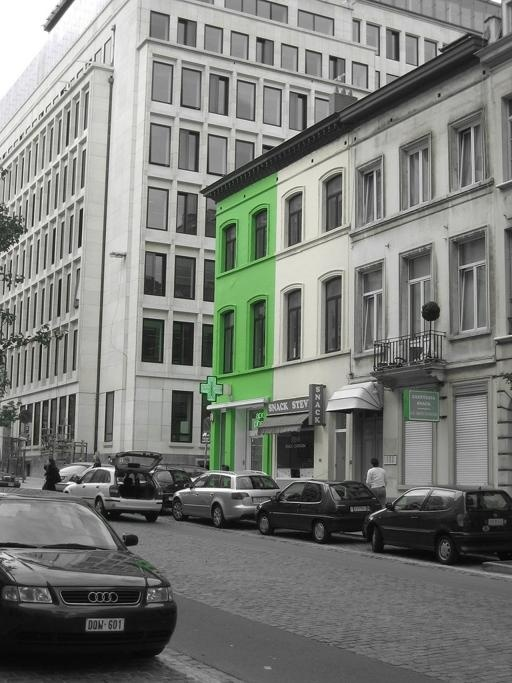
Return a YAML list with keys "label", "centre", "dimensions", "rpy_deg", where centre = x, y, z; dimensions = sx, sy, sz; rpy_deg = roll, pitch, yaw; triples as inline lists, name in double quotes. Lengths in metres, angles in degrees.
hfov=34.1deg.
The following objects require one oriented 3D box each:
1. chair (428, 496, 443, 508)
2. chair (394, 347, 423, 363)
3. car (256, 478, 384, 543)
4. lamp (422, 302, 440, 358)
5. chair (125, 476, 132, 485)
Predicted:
- label: "chair"
  centre: [3.316, 2.974, 15.456]
  dimensions: [0.194, 0.224, 0.365]
  rpy_deg: [-6, -13, 23]
- label: "chair"
  centre: [4.379, 0.401, 23.601]
  dimensions: [0.445, 0.332, 0.475]
  rpy_deg: [-3, -6, 26]
- label: "car"
  centre: [1.459, 3.855, 19.711]
  dimensions: [1.347, 1.161, 2.351]
  rpy_deg: [5, -7, -35]
- label: "lamp"
  centre: [4.762, -0.355, 22.659]
  dimensions: [0.471, 1.550, 1.072]
  rpy_deg: [-2, -10, 12]
- label: "chair"
  centre: [-3.661, 3.973, 23.838]
  dimensions: [0.139, 0.225, 0.210]
  rpy_deg: [4, -11, -4]
